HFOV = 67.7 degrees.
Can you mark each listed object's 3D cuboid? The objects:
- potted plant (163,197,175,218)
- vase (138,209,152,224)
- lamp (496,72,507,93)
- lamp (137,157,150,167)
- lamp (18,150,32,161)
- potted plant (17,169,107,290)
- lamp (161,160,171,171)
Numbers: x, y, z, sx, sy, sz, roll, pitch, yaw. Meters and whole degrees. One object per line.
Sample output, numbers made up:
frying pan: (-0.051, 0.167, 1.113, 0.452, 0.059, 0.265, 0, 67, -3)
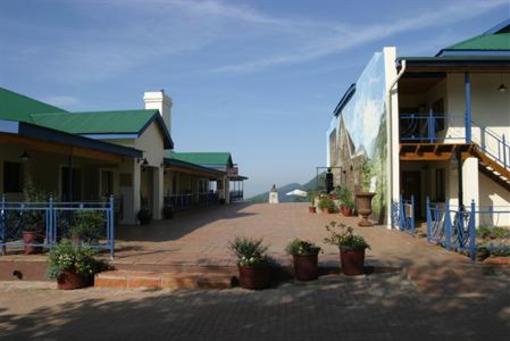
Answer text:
potted plant: (-4.322, 1.839, 18.859, 0.483, 0.737, 2.293, -4, 13, -13)
vase: (-4.641, 1.947, 16.012, 0.586, 0.546, 0.546, 0, -10, -5)
lamp: (9.966, -3.510, 15.283, 0.313, 0.717, 0.700, 7, 15, 34)
lamp: (-4.735, -0.341, 15.971, 0.214, 0.373, 0.532, 3, 14, 20)
lamp: (-9.111, -0.606, 14.964, 0.391, 0.460, 0.402, -4, -5, 31)
potted plant: (-5.175, 1.937, 11.003, 2.068, 1.516, 3.715, 3, 1, -2)
lamp: (-4.356, -0.267, 18.526, 0.457, 0.716, 0.348, -2, -4, 15)
